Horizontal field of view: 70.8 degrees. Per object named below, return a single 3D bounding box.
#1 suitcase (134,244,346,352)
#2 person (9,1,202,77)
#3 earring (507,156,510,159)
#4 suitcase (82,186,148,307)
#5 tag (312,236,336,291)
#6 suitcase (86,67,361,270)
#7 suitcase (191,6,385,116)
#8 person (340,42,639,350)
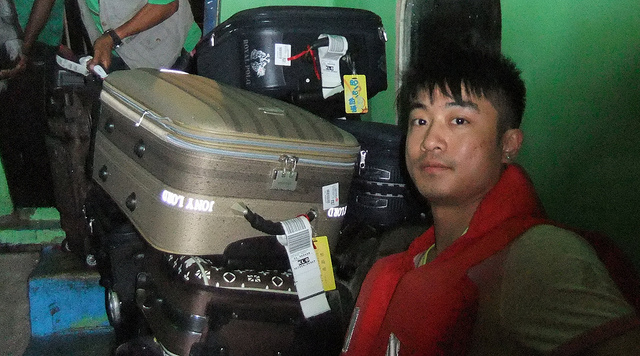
[{"bbox_3d":[-0.384,0.734,2.557,0.799,0.267,0.775,5,5,-40],"label":"suitcase"},{"bbox_3d":[-1.599,-1.146,3.458,1.185,0.312,0.849,-5,23,-25],"label":"person"},{"bbox_3d":[0.928,-0.102,2.230,0.011,0.013,0.002,-2,16,-18],"label":"earring"},{"bbox_3d":[-1.282,0.420,2.815,0.226,0.694,0.602,-8,14,-28],"label":"suitcase"},{"bbox_3d":[0.028,0.514,2.717,0.067,0.246,0.276,-11,3,6],"label":"tag"},{"bbox_3d":[-0.734,-0.183,3.318,1.496,0.823,1.836,5,15,-34],"label":"suitcase"},{"bbox_3d":[-0.320,-0.976,4.147,1.801,0.858,1.123,1,10,-13],"label":"suitcase"},{"bbox_3d":[0.806,0.209,2.158,1.243,1.607,0.630,10,17,28],"label":"person"}]
